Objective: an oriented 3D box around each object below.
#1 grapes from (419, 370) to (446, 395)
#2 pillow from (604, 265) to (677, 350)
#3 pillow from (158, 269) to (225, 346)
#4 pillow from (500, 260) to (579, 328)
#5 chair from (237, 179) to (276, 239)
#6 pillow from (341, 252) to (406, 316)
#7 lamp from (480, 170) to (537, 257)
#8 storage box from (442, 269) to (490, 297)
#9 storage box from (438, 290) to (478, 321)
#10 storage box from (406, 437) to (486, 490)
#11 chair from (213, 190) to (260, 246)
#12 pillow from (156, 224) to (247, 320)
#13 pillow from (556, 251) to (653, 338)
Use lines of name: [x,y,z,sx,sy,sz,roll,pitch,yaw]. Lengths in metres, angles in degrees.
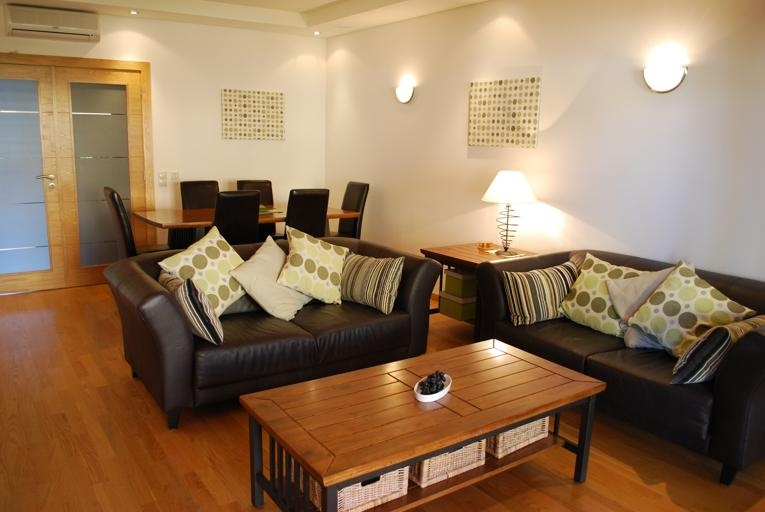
grapes: [0.291,0.723,3.028,0.102,0.047,0.131,5,12,25]
pillow: [1.847,0.397,3.823,0.566,0.530,0.171,-13,-30,31]
pillow: [-1.322,0.343,3.668,0.283,0.443,0.517,-9,18,-32]
pillow: [1.312,0.309,4.252,0.668,0.423,0.228,-9,8,-19]
chair: [-1.639,-0.548,6.833,0.486,0.509,0.885,-4,-29,-11]
pillow: [-0.073,0.255,4.289,0.411,0.347,0.157,15,19,32]
lamp: [1.186,-0.418,4.980,0.440,0.762,0.623,5,16,15]
storage box: [0.733,0.228,4.848,0.258,0.220,0.253,-3,10,-35]
storage box: [0.687,0.437,4.851,0.279,0.170,0.275,-3,9,-30]
storage box: [0.362,1.162,3.050,0.439,0.180,0.307,-12,-3,-9]
chair: [-1.382,-0.349,4.981,0.421,0.733,0.437,-4,25,-28]
pillow: [-1.372,0.160,4.030,0.198,0.600,0.626,-27,15,44]
pillow: [1.667,0.163,4.160,0.634,0.583,0.174,-29,-28,19]
